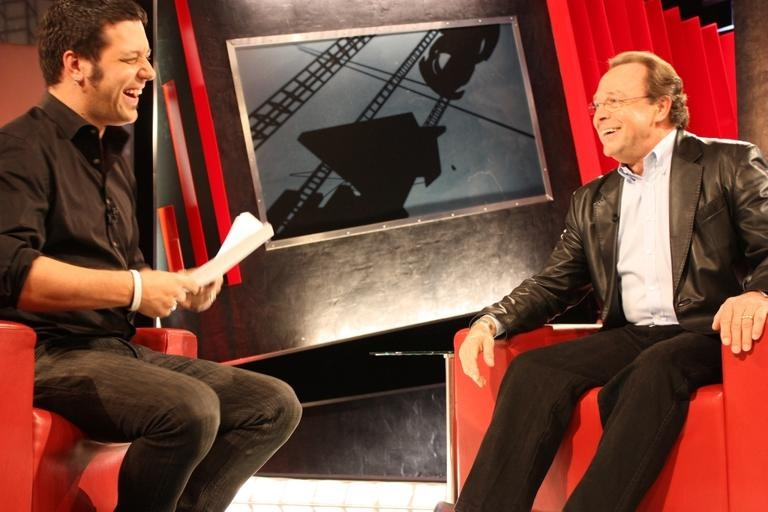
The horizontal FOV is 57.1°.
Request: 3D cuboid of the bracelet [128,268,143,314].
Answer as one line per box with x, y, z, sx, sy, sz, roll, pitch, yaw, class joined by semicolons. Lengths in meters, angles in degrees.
-0.768;0.108;2.190;0.035;0.096;0.082;0;-10;-24;bracelet
